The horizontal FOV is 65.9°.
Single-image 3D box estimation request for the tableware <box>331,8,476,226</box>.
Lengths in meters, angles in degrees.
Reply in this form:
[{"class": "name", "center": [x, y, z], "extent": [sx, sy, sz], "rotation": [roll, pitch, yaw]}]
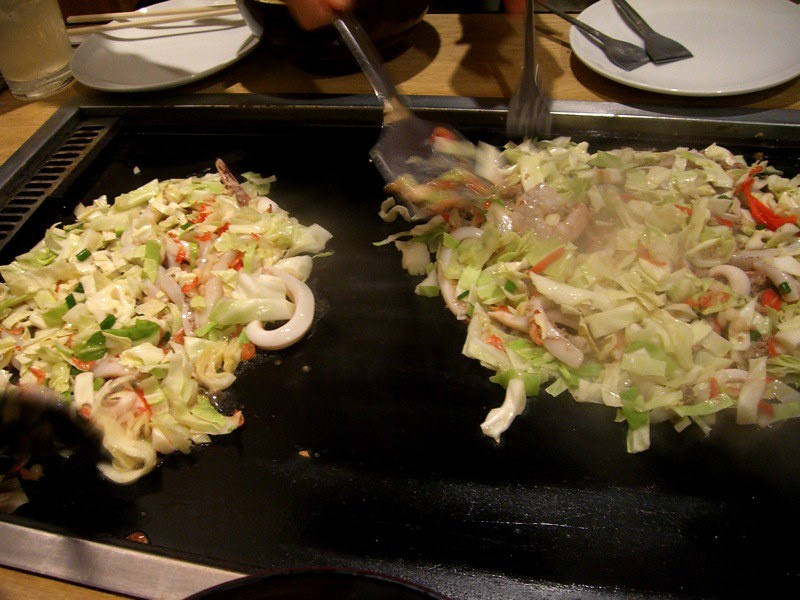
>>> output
[{"class": "tableware", "center": [-0.022, -0.451, 1.752], "extent": [0.261, 0.717, 0.116], "rotation": [-40, 23, -11]}]
